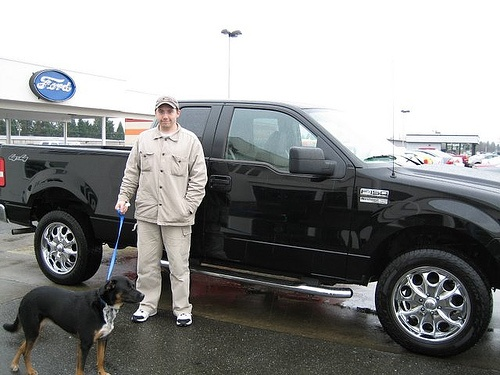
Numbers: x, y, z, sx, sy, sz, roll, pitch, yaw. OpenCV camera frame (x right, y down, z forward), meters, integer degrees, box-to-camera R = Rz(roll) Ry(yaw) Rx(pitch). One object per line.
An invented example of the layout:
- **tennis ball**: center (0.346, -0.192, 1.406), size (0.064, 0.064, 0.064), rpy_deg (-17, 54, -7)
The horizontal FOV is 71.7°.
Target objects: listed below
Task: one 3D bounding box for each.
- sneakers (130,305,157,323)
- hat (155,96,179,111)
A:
- **sneakers**: center (-1.238, 1.467, 4.005), size (0.123, 0.117, 0.273), rpy_deg (-3, -11, 24)
- **hat**: center (-0.886, -0.909, 3.701), size (0.240, 0.159, 0.178), rpy_deg (2, 2, -18)
